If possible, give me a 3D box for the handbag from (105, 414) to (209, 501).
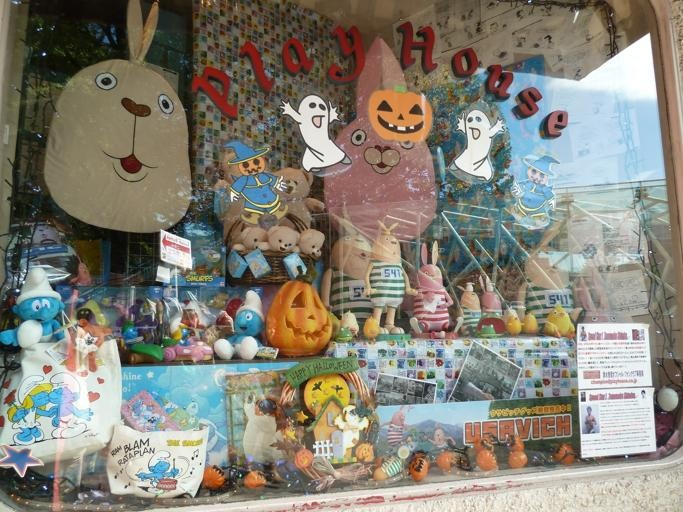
[{"bbox_3d":[-0.785,0.796,2.392,0.484,0.333,0.269,4,-23,-11],"label":"handbag"}]
